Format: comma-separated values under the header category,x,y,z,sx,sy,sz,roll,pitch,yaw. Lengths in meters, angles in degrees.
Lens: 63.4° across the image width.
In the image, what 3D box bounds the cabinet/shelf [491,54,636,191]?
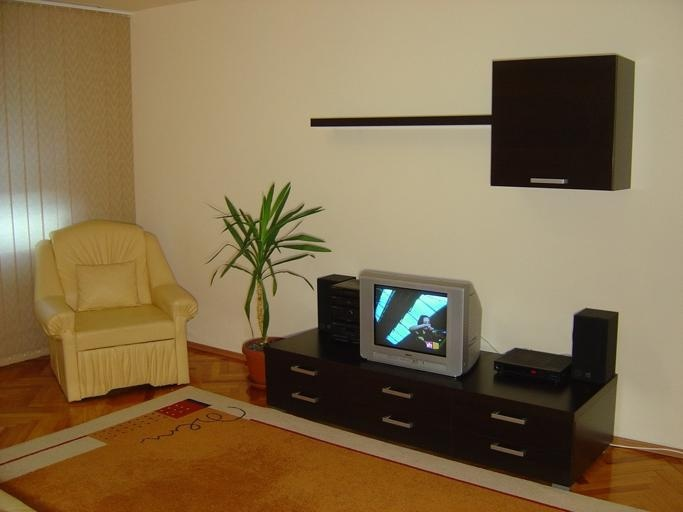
category,x,y,z,sx,sy,sz,roll,pitch,yaw
cabinet/shelf,1.285,-0.771,3.167,0.728,0.744,0.392,4,7,30

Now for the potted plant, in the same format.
category,x,y,z,sx,sy,sz,roll,pitch,yaw
potted plant,-0.630,0.331,4.521,0.812,1.384,0.917,-7,-11,16

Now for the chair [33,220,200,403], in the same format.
category,x,y,z,sx,sy,sz,roll,pitch,yaw
chair,-1.873,0.394,4.554,1.119,1.230,1.076,-7,13,-30
